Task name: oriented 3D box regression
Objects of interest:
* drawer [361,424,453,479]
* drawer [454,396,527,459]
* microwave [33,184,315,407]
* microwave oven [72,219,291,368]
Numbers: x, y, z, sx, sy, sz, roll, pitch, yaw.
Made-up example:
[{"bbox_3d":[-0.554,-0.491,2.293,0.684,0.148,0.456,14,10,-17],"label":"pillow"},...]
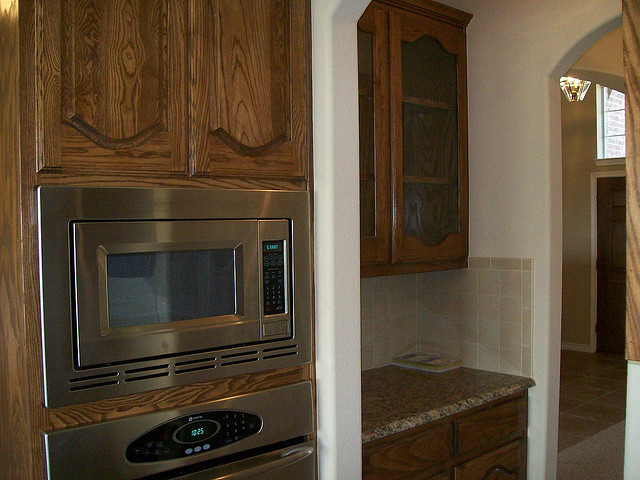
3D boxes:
[{"bbox_3d":[0.387,0.914,2.357,0.529,0.188,0.038,-6,2,-39],"label":"drawer"},{"bbox_3d":[0.802,0.887,2.653,0.380,0.171,0.193,-12,13,-37],"label":"drawer"},{"bbox_3d":[-0.517,0.162,1.903,0.888,0.629,0.470,-1,0,-42],"label":"microwave"},{"bbox_3d":[-0.503,0.159,1.875,0.799,0.516,0.432,-1,-2,-41],"label":"microwave oven"}]
